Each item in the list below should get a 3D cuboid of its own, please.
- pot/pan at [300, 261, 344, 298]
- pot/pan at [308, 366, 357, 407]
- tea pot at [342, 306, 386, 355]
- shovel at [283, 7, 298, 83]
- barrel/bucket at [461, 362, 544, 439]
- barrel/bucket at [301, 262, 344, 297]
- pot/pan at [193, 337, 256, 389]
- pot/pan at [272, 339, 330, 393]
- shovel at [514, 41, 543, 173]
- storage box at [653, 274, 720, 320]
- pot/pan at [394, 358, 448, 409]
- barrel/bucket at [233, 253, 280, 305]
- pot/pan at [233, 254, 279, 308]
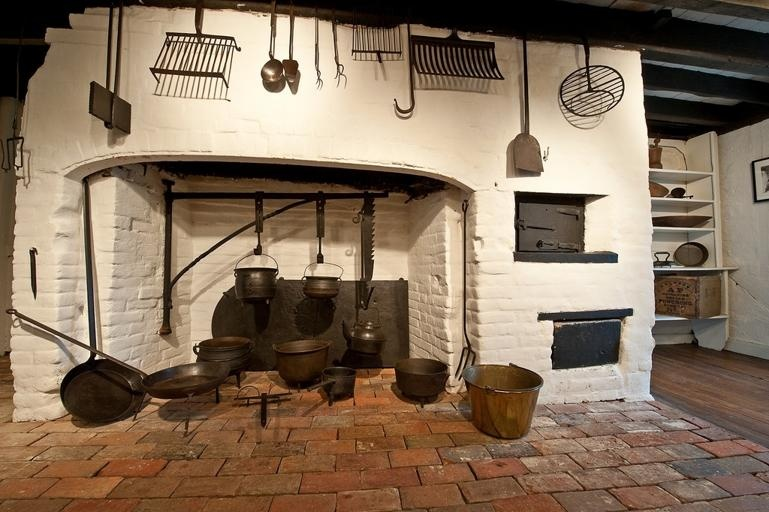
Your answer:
[{"bbox_3d":[-0.646,0.247,5.850,0.450,0.335,0.383,1,1,-11],"label":"pot/pan"},{"bbox_3d":[-0.462,1.231,5.423,0.377,0.316,0.445,1,3,-6],"label":"pot/pan"},{"bbox_3d":[-0.208,0.718,5.670,0.497,0.382,0.371,5,8,-12],"label":"tea pot"},{"bbox_3d":[-0.856,-1.915,5.201,0.130,0.694,0.131,1,3,-9],"label":"shovel"},{"bbox_3d":[1.062,1.299,5.185,0.758,0.429,0.691,0,10,0],"label":"barrel/bucket"},{"bbox_3d":[-0.647,0.247,5.915,0.450,0.314,0.394,2,-9,-7],"label":"barrel/bucket"},{"bbox_3d":[-1.623,1.046,5.704,0.607,0.327,0.506,4,5,-17],"label":"pot/pan"},{"bbox_3d":[-0.826,1.069,5.684,0.574,0.352,0.509,-3,4,-14],"label":"pot/pan"},{"bbox_3d":[1.336,-1.391,5.319,0.308,1.181,0.094,-10,17,-20],"label":"shovel"},{"bbox_3d":[3.672,0.474,6.901,0.565,0.396,0.650,-2,1,-16],"label":"storage box"},{"bbox_3d":[0.338,1.190,5.473,0.515,0.272,0.455,0,11,-8],"label":"pot/pan"},{"bbox_3d":[-1.293,0.214,5.778,0.656,0.469,0.586,1,-11,-21],"label":"barrel/bucket"},{"bbox_3d":[-1.306,0.211,5.770,0.452,0.474,0.438,-7,-10,37],"label":"pot/pan"}]
